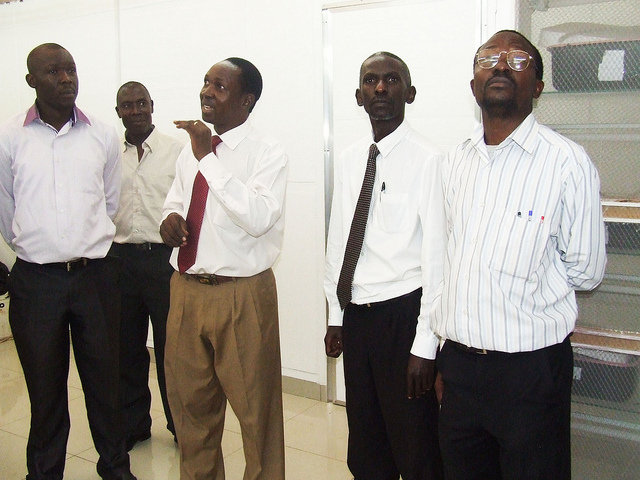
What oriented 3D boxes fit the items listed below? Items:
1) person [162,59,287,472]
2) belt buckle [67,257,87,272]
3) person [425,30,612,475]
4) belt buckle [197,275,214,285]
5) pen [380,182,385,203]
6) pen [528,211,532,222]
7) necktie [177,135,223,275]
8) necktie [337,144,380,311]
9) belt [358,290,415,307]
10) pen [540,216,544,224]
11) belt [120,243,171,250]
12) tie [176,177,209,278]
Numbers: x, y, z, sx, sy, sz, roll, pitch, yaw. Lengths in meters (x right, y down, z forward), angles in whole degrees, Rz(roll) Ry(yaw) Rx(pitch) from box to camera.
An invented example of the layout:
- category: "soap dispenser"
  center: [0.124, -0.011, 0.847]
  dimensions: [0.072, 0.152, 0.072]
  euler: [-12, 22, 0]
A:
- category: "person"
  center: [-0.446, 0.159, 2.449]
  dimensions: [0.597, 1.924, 0.483]
  euler: [-1, 12, -3]
- category: "belt buckle"
  center: [-1.213, 0.115, 2.631]
  dimensions: [0.063, 0.065, 0.024]
  euler: [-6, 15, -44]
- category: "person"
  center: [0.718, 0.143, 1.956]
  dimensions: [0.613, 1.773, 0.488]
  euler: [2, 12, 11]
- category: "belt buckle"
  center: [-0.521, 0.177, 2.377]
  dimensions: [0.046, 0.014, 0.046]
  euler: [24, -18, 10]
- category: "pen"
  center: [0.272, -0.214, 2.320]
  dimensions: [0.019, 0.076, 0.032]
  euler: [1, 12, 4]
- category: "pen"
  center: [0.734, -0.083, 1.844]
  dimensions: [0.013, 0.035, 0.013]
  euler: [5, 13, 23]
- category: "necktie"
  center: [-0.585, -0.071, 2.412]
  dimensions: [0.132, 0.461, 0.113]
  euler: [-10, 15, -38]
- category: "necktie"
  center: [0.171, -0.067, 2.355]
  dimensions: [0.046, 0.888, 0.105]
  euler: [9, -6, 37]
- category: "belt"
  center: [0.289, 0.253, 2.259]
  dimensions: [0.221, 0.082, 0.029]
  euler: [2, 12, 11]
- category: "pen"
  center: [0.771, -0.072, 1.836]
  dimensions: [0.011, 0.022, 0.008]
  euler: [4, -1, 36]
- category: "belt"
  center: [-1.059, 0.032, 3.133]
  dimensions: [0.328, 0.043, 0.044]
  euler: [3, 13, 14]
- category: "tie"
  center: [-0.562, -0.087, 2.438]
  dimensions: [0.114, 0.511, 0.023]
  euler: [13, -7, 23]
